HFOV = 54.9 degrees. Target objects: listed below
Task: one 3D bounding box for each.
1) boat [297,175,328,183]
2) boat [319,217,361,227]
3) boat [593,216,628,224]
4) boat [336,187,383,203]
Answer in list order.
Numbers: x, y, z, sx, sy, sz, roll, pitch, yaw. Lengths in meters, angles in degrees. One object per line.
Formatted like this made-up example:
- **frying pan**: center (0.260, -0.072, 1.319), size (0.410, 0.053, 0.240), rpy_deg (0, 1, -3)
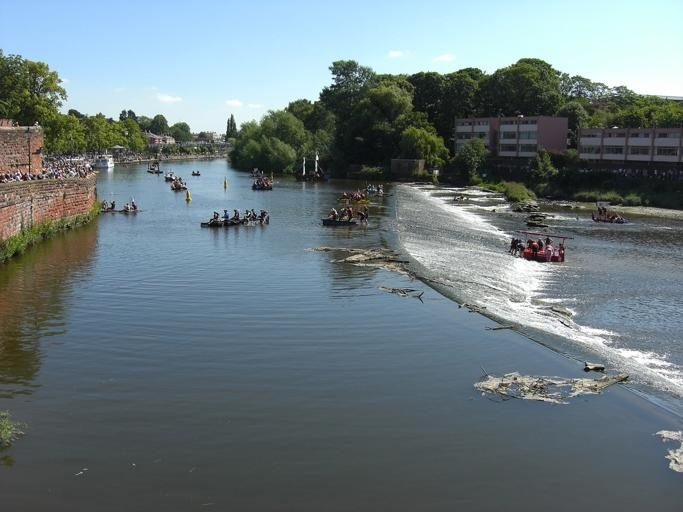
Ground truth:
- **boat**: center (-5.570, -13.440, 119.803), size (4.467, 1.490, 2.476), rpy_deg (1, 9, 3)
- **boat**: center (-0.159, -2.814, 58.703), size (3.314, 0.701, 1.885), rpy_deg (1, 13, -4)
- **boat**: center (28.910, -3.842, 71.122), size (2.244, 0.753, 1.687), rpy_deg (0, 4, 16)
- **boat**: center (2.364, -7.845, 87.034), size (3.535, 1.316, 4.694), rpy_deg (4, 11, 8)
